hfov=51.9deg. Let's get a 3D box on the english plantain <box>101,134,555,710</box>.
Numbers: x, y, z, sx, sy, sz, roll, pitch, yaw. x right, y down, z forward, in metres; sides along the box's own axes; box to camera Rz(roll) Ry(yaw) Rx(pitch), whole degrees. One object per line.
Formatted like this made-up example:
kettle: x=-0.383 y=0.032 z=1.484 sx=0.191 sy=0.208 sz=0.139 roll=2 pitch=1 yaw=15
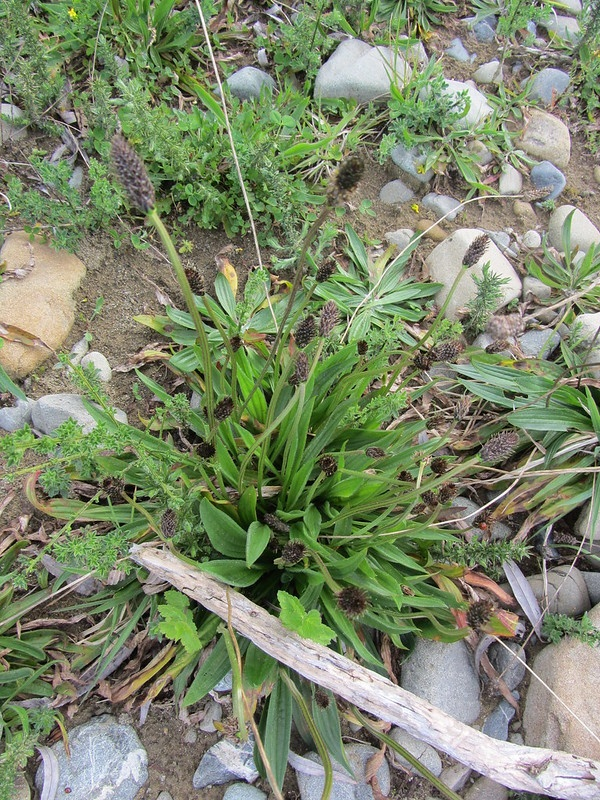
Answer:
english plantain: x=-0.039 y=0.429 z=1.945 sx=0.815 sy=2.130 sz=0.930 roll=15 pitch=32 yaw=-2
